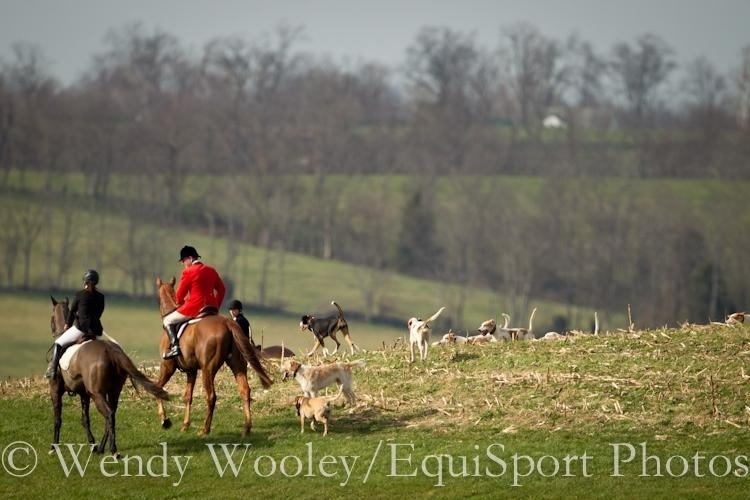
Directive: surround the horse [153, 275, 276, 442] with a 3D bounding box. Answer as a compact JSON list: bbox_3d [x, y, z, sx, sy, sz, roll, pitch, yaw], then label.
[{"bbox_3d":[-7.603,4.862,82.206,5.143,7.019,2.366,3,9,7],"label":"horse"}]
